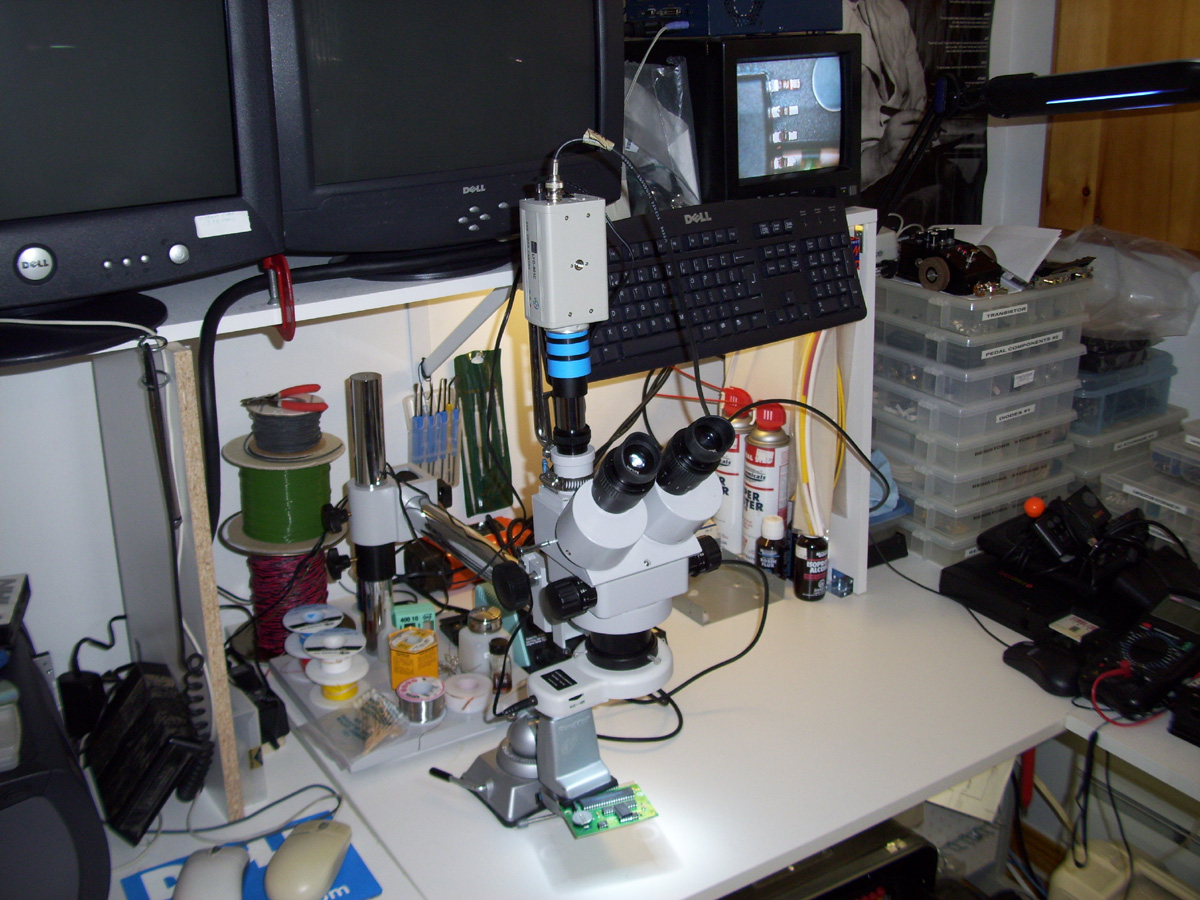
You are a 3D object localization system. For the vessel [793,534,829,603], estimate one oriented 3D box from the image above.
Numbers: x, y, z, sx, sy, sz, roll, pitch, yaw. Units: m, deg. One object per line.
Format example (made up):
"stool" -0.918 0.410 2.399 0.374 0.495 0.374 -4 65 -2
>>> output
"vessel" 0.409 0.217 1.843 0.070 0.138 0.072 9 16 34

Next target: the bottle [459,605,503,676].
"bottle" -0.199 0.313 1.614 0.088 0.107 0.091 -4 18 -23

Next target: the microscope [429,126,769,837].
"microscope" -0.021 0.076 1.230 0.313 0.885 0.417 -12 19 -39

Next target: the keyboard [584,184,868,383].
"keyboard" 0.215 -0.256 1.582 0.619 0.286 0.113 -13 8 -16

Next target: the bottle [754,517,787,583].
"bottle" 0.342 0.192 1.877 0.066 0.122 0.069 -2 22 1
